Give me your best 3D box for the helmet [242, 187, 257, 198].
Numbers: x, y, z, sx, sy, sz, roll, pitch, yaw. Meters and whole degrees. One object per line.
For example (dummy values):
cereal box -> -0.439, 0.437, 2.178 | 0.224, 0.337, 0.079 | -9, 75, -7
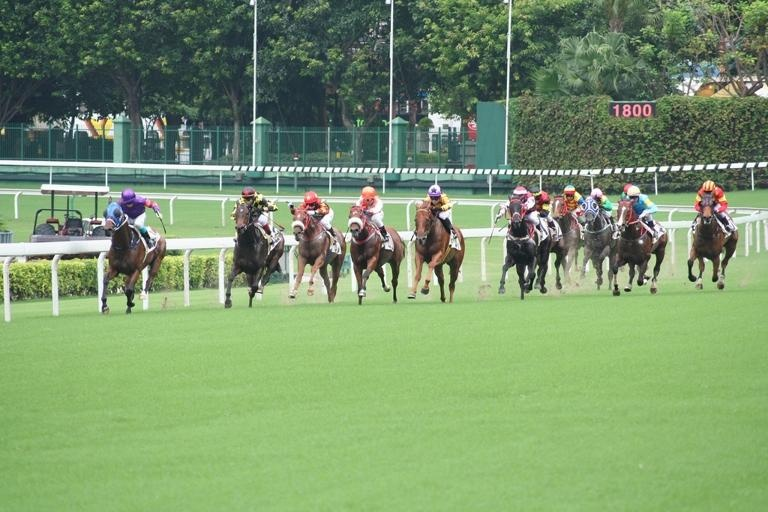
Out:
helmet -> -2.057, -0.970, 15.493 | 0.197, 0.195, 0.236 | 4, 27, 8

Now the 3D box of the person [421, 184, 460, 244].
person -> 1.003, -0.723, 16.781 | 0.293, 0.659, 1.310 | -5, -20, 19

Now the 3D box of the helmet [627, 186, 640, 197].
helmet -> 4.446, -1.166, 18.073 | 0.229, 0.195, 0.341 | 3, 11, 10

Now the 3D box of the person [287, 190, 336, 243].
person -> -1.096, -0.613, 16.467 | 0.400, 0.917, 0.680 | -3, 14, 40

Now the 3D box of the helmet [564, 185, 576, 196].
helmet -> 3.473, -1.248, 18.810 | 0.216, 0.197, 0.245 | 1, -4, -2

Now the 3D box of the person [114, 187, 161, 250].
person -> -3.802, -0.591, 15.539 | 0.693, 0.383, 1.199 | -1, -25, 0

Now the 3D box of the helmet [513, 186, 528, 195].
helmet -> 2.273, -1.088, 16.887 | 0.249, 0.114, 0.344 | -2, 6, 0

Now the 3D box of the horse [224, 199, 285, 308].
horse -> -2.015, -0.092, 15.690 | 0.458, 1.673, 1.141 | 4, 11, 19

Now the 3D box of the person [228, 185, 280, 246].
person -> -2.004, -0.616, 15.577 | 0.400, 0.841, 0.782 | -23, -8, 36

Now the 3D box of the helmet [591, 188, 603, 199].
helmet -> 3.991, -1.165, 18.987 | 0.189, 0.148, 0.283 | 4, 14, 7

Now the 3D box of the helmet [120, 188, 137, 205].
helmet -> -3.834, -0.909, 15.293 | 0.193, 0.206, 0.250 | -3, 8, -6

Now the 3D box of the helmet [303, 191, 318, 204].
helmet -> -1.148, -0.958, 16.461 | 0.248, 0.159, 0.342 | 0, 11, -6

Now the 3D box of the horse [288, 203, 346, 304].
horse -> -1.068, -0.014, 16.581 | 0.544, 1.448, 2.190 | 2, -5, 15

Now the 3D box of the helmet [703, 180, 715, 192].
helmet -> 5.714, -1.261, 17.816 | 0.205, 0.165, 0.301 | 6, 47, 18

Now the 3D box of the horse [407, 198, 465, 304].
horse -> 0.896, -0.010, 16.879 | 0.582, 1.505, 2.373 | 5, -4, 19

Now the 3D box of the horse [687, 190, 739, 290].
horse -> 5.973, -0.114, 18.704 | 0.687, 1.652, 2.829 | 2, -9, 22

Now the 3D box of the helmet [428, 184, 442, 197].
helmet -> 0.838, -1.065, 16.392 | 0.222, 0.171, 0.334 | 0, 35, 5
